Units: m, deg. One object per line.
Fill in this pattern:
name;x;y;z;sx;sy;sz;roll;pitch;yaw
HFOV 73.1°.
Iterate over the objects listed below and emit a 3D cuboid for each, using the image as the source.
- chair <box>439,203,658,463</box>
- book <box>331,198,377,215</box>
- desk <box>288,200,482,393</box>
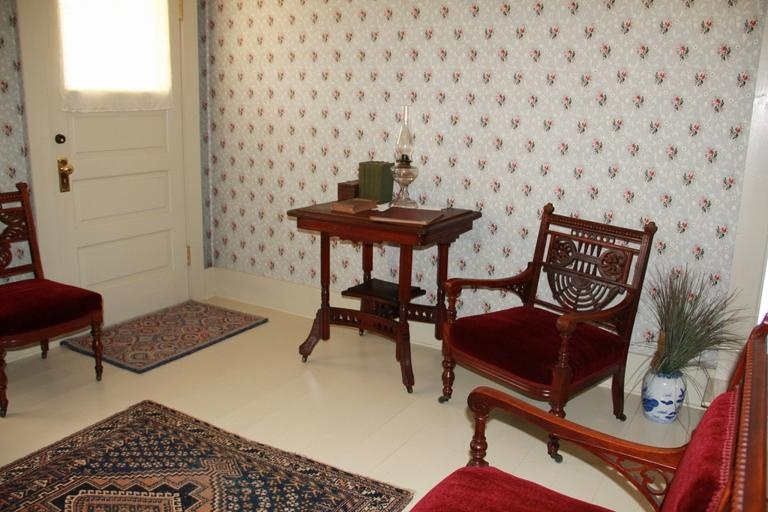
chair;0.962;0.419;3.147;1.144;1.237;1.135;5;13;13
book;-0.197;-0.329;3.547;0.309;0.061;0.179;1;17;-7
desk;0.095;0.012;3.982;1.547;1.560;1.213;10;19;30
